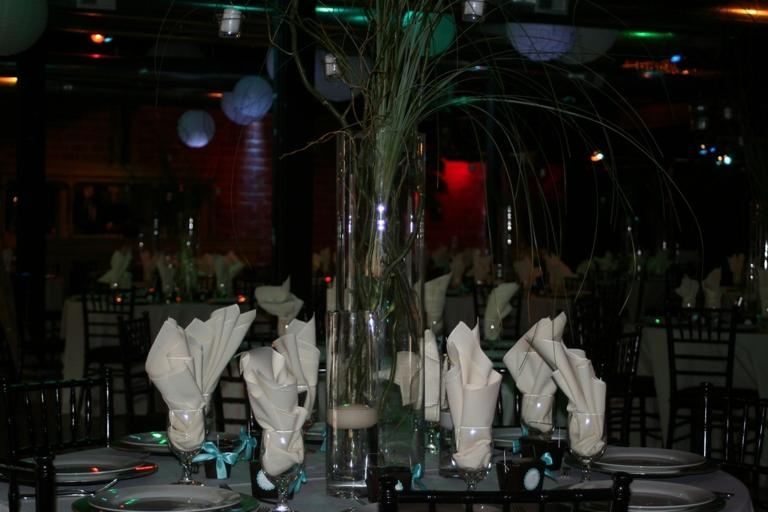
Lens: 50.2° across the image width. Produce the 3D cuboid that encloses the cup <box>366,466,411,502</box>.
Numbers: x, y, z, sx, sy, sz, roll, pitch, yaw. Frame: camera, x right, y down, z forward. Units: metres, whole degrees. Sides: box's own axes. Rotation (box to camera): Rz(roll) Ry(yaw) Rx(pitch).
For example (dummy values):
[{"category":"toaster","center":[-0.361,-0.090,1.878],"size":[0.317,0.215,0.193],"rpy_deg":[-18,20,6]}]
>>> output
[{"category":"cup","center":[0.020,0.997,3.412],"size":[0.190,0.158,0.183],"rpy_deg":[3,18,-1]}]

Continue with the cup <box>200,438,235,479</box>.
[{"category":"cup","center":[-0.765,0.918,3.682],"size":[0.155,0.183,0.170],"rpy_deg":[11,-5,1]}]

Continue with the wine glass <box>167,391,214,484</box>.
[{"category":"wine glass","center":[-0.840,0.784,3.507],"size":[0.138,0.390,0.158],"rpy_deg":[-5,-8,36]}]

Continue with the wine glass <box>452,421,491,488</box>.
[{"category":"wine glass","center":[0.366,0.891,3.514],"size":[0.147,0.435,0.178],"rpy_deg":[3,21,12]}]

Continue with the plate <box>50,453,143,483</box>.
[{"category":"plate","center":[-1.266,0.959,3.708],"size":[0.415,0.118,0.353],"rpy_deg":[3,-10,-25]}]

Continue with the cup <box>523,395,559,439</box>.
[{"category":"cup","center":[0.745,0.762,3.880],"size":[0.147,0.208,0.157],"rpy_deg":[-1,-2,0]}]
